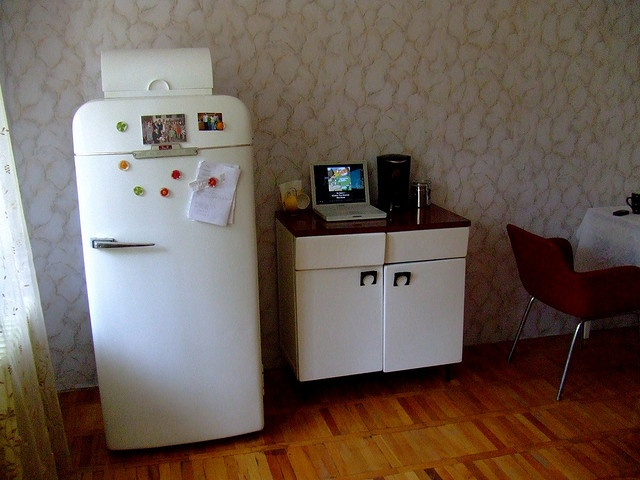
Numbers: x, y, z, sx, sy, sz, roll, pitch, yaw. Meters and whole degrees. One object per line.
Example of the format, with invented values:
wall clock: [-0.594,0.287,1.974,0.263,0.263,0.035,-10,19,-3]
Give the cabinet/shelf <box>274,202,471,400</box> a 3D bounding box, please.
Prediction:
cabinet/shelf: [0.331,0.313,3.169,1.025,0.938,0.602,-4,14,-12]

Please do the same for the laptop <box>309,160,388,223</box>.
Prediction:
laptop: [0.157,-0.299,3.005,0.480,0.303,0.461,-11,16,-40]

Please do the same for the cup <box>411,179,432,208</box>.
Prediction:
cup: [0.624,-0.285,3.240,0.147,0.146,0.118,8,15,37]

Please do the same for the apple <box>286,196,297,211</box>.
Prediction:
apple: [-0.172,-0.216,3.089,0.068,0.088,0.075,6,34,9]
